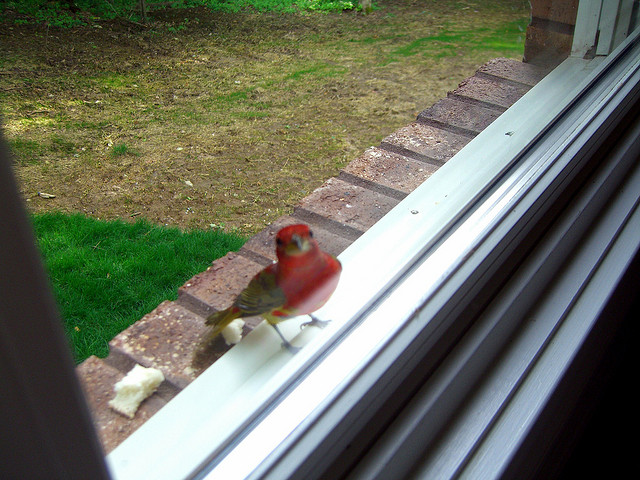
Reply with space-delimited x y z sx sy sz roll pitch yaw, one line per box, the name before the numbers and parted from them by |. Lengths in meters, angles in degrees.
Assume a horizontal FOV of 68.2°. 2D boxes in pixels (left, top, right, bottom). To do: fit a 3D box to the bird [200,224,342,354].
bird | -0.064 0.059 0.703 0.167 0.148 0.236 -26 21 -40
